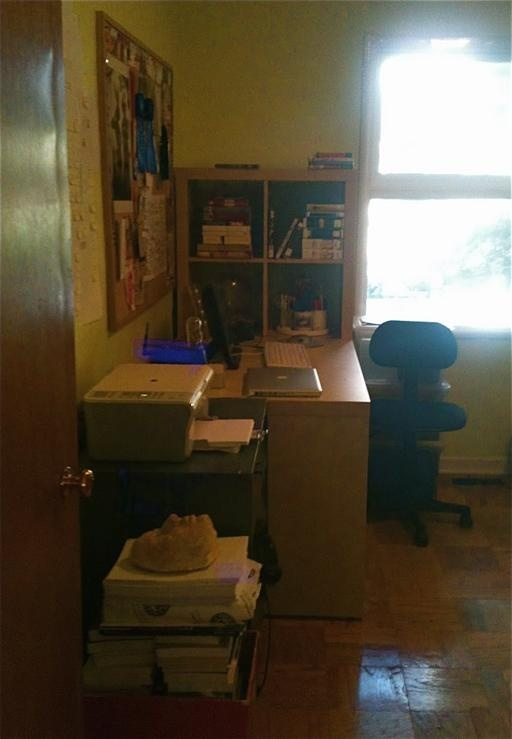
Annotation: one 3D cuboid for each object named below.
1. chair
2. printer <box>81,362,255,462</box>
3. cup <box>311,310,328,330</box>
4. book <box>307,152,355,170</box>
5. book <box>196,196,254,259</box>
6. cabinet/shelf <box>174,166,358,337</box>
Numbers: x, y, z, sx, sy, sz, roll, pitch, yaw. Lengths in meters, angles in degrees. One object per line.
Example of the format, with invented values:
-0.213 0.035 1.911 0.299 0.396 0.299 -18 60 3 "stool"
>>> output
0.504 0.174 1.950 0.271 0.668 0.347 -2 9 11 "chair"
-0.193 0.078 1.141 0.181 0.096 0.229 0 14 0 "printer"
0.228 -0.182 2.203 0.063 0.075 0.044 0 7 9 "cup"
0.243 -0.685 1.996 0.143 0.058 0.023 -4 8 5 "book"
-0.107 -0.492 2.116 0.171 0.159 0.193 1 23 2 "book"
0.029 -0.427 2.097 0.480 0.575 0.159 0 5 -2 "cabinet/shelf"
